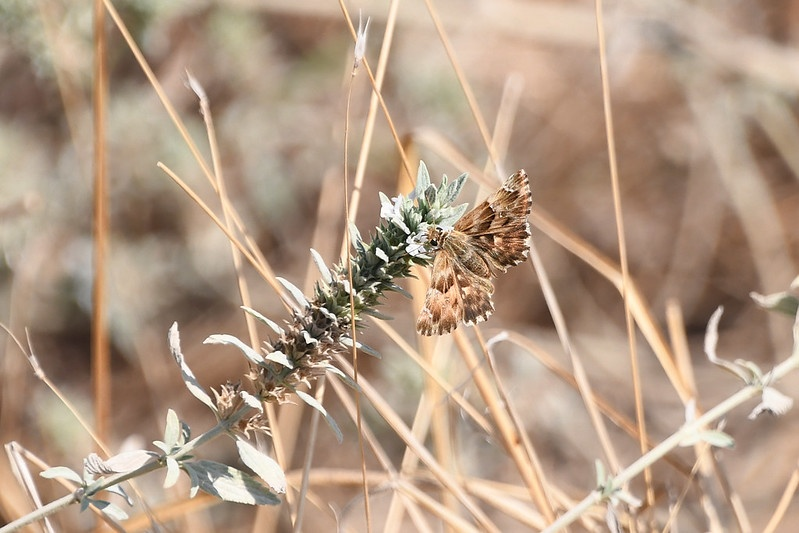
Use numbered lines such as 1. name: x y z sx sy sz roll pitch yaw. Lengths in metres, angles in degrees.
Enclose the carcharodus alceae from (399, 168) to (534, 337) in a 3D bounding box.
1. carcharodus alceae: 0.220 -0.065 3.233 0.355 0.179 0.637 20 -13 -8
